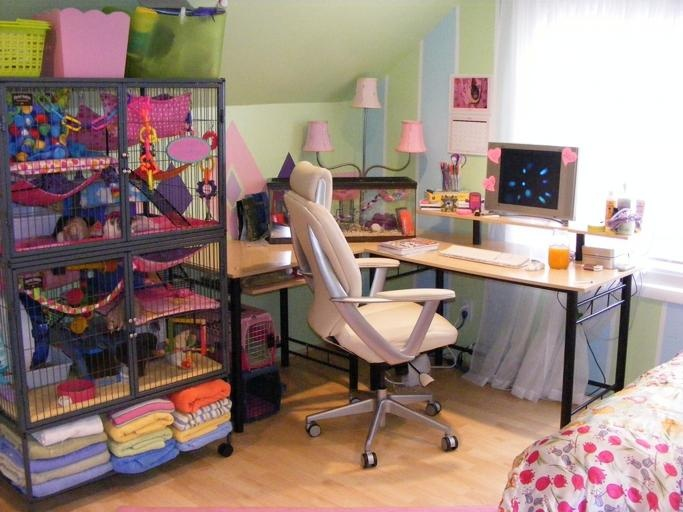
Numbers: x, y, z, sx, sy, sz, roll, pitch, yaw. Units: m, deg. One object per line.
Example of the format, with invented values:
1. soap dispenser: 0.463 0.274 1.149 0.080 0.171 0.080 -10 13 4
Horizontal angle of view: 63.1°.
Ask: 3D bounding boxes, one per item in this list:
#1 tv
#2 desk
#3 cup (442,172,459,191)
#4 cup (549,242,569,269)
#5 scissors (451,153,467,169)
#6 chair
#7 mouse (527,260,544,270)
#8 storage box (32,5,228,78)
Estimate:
1. tv: 1.158 -0.444 3.338 0.494 0.409 0.055 8 10 41
2. desk: 0.936 0.153 3.090 1.642 0.850 1.430 11 15 43
3. cup: 0.723 -0.499 3.701 0.110 0.123 0.117 -1 17 0
4. cup: 1.191 0.000 3.129 0.127 0.135 0.121 -1 9 0
5. scissors: 0.795 -0.650 3.772 0.101 0.128 0.125 -1 6 7
6. chair: 0.174 0.274 2.901 0.870 1.504 0.784 -5 15 -21
7. mouse: 1.053 0.053 3.043 0.055 0.025 0.078 5 11 38
8. storage box: -0.936 -0.896 2.558 0.657 0.259 0.449 -4 9 -33
